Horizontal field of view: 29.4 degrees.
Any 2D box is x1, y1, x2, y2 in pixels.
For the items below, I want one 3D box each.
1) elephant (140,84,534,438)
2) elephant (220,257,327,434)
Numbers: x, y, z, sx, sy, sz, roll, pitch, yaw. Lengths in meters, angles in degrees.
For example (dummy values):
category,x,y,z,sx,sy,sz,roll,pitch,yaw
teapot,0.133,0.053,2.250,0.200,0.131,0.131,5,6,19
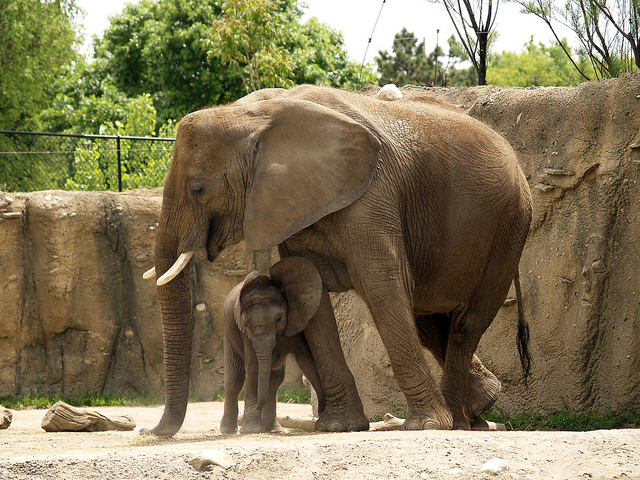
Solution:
category,x,y,z,sx,sy,sz,roll,pitch,yaw
elephant,0.303,0.565,16.122,5.506,4.746,3.479,2,3,-19
elephant,-0.341,1.224,15.564,1.077,1.985,2.628,-2,4,20
